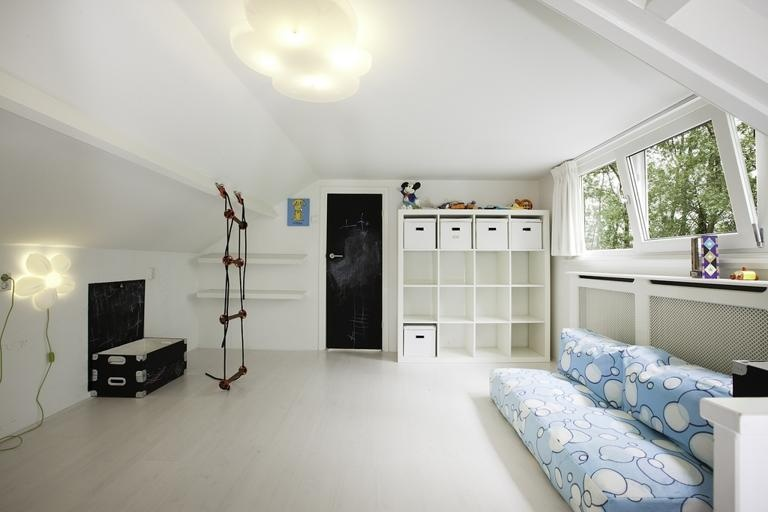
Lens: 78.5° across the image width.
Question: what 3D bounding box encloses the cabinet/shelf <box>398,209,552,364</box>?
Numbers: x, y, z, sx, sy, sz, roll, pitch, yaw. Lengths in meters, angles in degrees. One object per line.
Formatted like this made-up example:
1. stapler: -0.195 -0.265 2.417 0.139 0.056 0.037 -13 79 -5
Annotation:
1. cabinet/shelf: 1.082 0.346 5.394 1.615 1.717 0.486 1 3 7

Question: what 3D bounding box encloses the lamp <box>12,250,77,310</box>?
1. lamp: -2.748 0.189 3.790 0.131 0.444 0.405 -3 -3 24

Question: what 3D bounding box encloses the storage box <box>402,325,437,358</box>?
1. storage box: 0.375 0.943 5.353 0.435 0.439 0.320 0 -8 -2

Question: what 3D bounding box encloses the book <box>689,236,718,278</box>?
1. book: 2.338 0.005 3.407 0.172 0.235 0.194 -4 -4 36

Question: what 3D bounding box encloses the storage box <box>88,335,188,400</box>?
1. storage box: -2.304 1.048 4.360 0.407 0.318 0.695 1 -4 4
